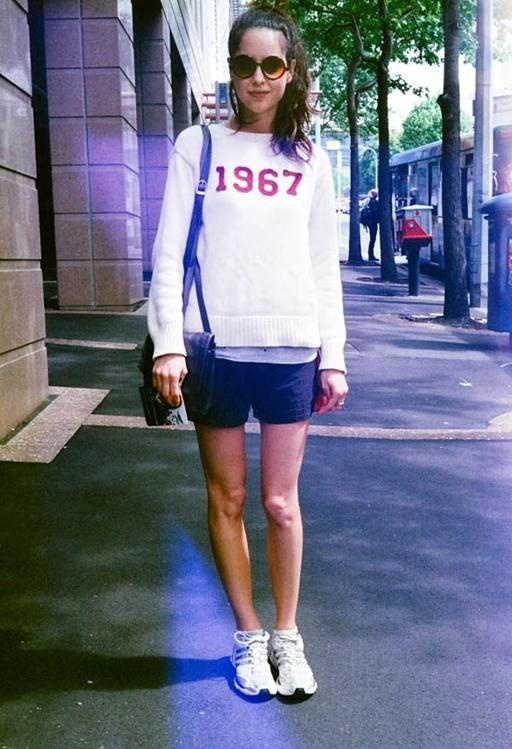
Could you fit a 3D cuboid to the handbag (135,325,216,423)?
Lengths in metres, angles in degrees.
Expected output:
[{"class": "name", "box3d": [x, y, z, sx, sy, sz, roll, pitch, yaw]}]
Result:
[{"class": "handbag", "box3d": [-0.190, 0.014, 1.501, 0.181, 0.225, 0.150, 1, 2, -6]}]

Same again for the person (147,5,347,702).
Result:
[{"class": "person", "box3d": [-0.011, -0.049, 1.590, 0.546, 1.715, 0.256, 0, 3, -36]}]

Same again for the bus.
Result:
[{"class": "bus", "box3d": [6.544, -6.579, 22.604, 2.361, 3.024, 6.581, -3, 11, -6]}]

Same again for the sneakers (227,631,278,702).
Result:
[{"class": "sneakers", "box3d": [-0.013, 0.740, 1.633, 0.069, 0.084, 0.185, 1, 4, -8]}]

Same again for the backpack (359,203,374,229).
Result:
[{"class": "backpack", "box3d": [4.482, -6.371, 25.694, 0.299, 0.853, 0.587, 4, 4, -23]}]

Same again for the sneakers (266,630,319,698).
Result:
[{"class": "sneakers", "box3d": [0.097, 0.740, 1.654, 0.070, 0.083, 0.179, -1, 10, -10]}]
